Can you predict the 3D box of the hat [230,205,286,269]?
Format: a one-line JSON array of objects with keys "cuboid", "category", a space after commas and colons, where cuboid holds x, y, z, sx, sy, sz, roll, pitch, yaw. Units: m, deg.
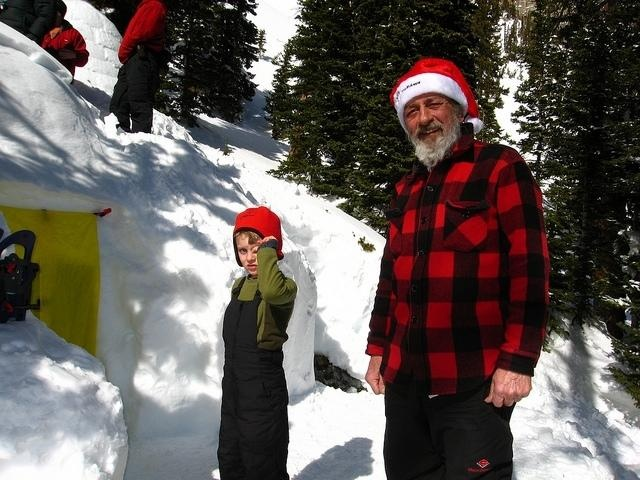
[{"cuboid": [-0.532, -0.041, 4.509, 0.376, 0.470, 0.514, -6, -11, 6], "category": "hat"}]
